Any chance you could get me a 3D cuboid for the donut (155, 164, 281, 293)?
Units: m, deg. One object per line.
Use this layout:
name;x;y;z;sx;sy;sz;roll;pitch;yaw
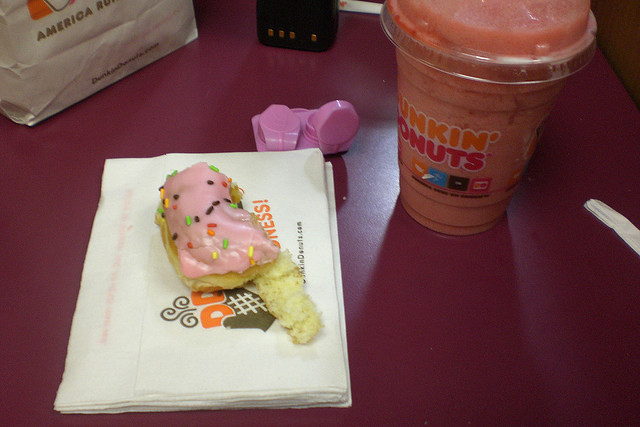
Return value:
donut;-0.157;0.003;0.792;0.131;0.075;0.215;-14;45;-23
